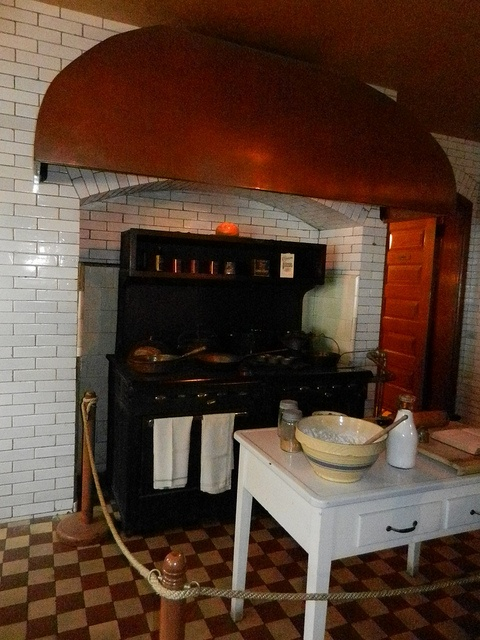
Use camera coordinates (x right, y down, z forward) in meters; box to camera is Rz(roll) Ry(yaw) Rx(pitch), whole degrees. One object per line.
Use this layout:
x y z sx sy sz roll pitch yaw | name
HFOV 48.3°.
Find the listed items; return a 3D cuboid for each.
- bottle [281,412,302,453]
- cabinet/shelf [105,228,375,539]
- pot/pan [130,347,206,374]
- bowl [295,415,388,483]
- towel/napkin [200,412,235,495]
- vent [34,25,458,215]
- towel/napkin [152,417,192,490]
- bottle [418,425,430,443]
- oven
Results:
0.222 0.480 2.317 0.110 0.157 0.104 2 1 0 | bottle
-0.046 0.348 3.751 1.714 1.705 0.762 -1 11 -30 | cabinet/shelf
-0.465 0.256 3.420 0.483 0.180 0.549 -3 -7 -7 | pot/pan
0.366 0.466 2.045 0.264 0.124 0.254 2 1 0 | bowl
-0.130 0.810 3.268 0.261 0.470 0.191 -2 -9 -20 | towel/napkin
0.031 -0.615 1.741 1.353 0.322 0.181 9 21 2 | vent
-0.388 0.765 3.101 0.249 0.396 0.087 0 -10 -30 | towel/napkin
0.832 0.524 2.426 0.051 0.061 0.064 0 -10 -1 | bottle
-0.211 1.001 3.507 0.900 0.808 0.726 -14 -32 23 | oven
